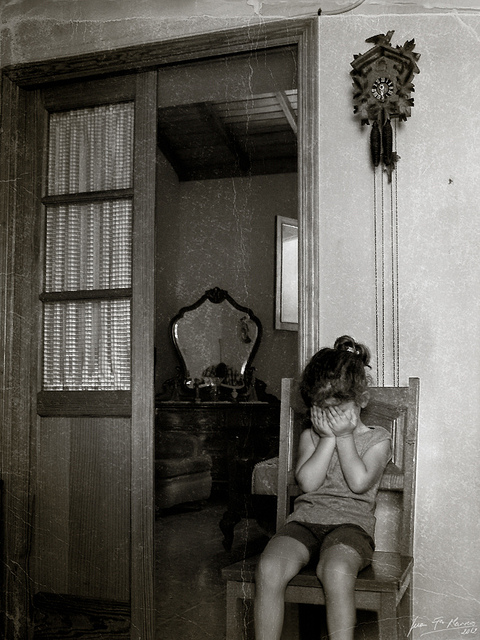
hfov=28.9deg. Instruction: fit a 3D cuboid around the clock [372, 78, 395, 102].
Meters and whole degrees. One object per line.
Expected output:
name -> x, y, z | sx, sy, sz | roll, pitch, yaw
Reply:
clock -> 0.362, -0.583, 2.360 | 0.054, 0.059, 0.012 | 5, -2, 23
